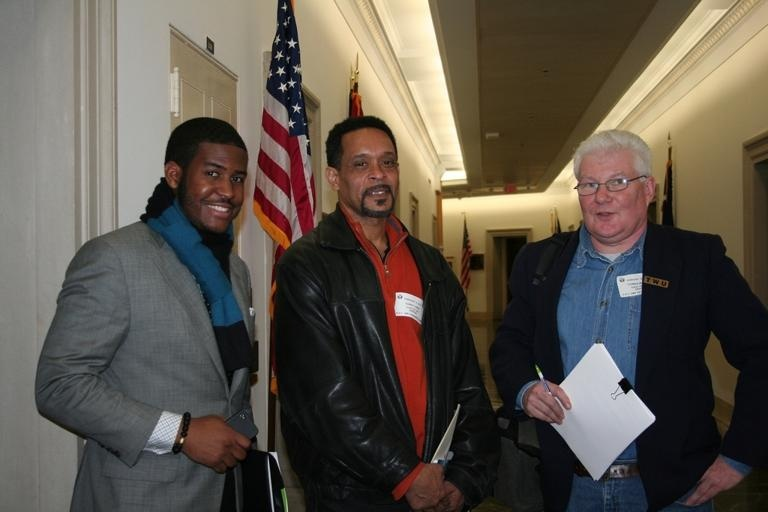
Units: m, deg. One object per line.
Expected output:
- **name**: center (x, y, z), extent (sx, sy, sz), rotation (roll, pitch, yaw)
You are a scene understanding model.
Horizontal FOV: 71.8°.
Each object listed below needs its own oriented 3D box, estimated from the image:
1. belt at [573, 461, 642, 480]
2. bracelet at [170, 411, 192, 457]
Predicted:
- **belt**: center (1.009, 0.977, 2.422), extent (0.273, 0.081, 0.039), rotation (-1, 0, 13)
- **bracelet**: center (-0.798, 0.709, 2.122), extent (0.040, 0.137, 0.102), rotation (9, -1, -3)
